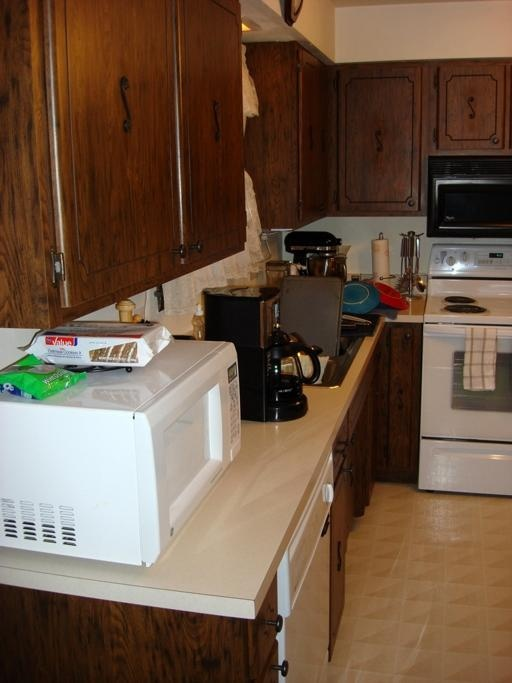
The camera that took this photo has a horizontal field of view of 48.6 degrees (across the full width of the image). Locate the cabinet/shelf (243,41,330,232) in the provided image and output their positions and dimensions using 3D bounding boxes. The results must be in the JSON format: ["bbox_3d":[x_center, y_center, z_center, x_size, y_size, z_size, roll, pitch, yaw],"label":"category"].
[{"bbox_3d":[0.200,-1.005,2.838,0.235,0.869,0.744,4,11,25],"label":"cabinet/shelf"}]

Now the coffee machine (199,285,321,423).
[{"bbox_3d":[0.017,0.003,1.655,0.339,0.517,0.257,-2,14,5],"label":"coffee machine"}]

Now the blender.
[{"bbox_3d":[0.316,-0.487,3.090,0.370,0.444,0.245,0,23,9],"label":"blender"}]

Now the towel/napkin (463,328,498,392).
[{"bbox_3d":[1.154,0.086,2.924,0.153,0.309,0.081,2,10,16],"label":"towel/napkin"}]

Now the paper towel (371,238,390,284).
[{"bbox_3d":[0.802,-0.524,3.666,0.104,0.262,0.140,1,10,10],"label":"paper towel"}]
